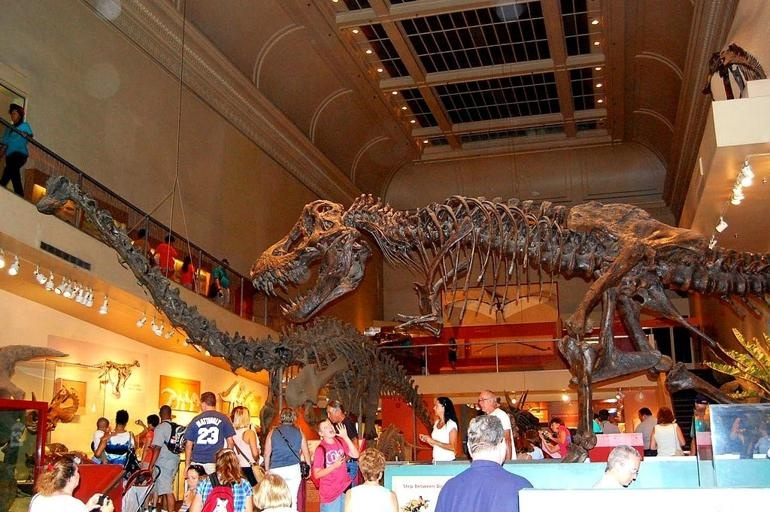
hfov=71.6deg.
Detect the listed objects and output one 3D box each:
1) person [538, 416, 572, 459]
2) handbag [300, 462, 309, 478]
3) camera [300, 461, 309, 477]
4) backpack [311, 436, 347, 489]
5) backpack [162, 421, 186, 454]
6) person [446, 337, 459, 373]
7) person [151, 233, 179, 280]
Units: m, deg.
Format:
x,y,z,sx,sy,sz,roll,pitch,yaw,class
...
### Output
x,y,z,sx,sy,sz,roll,pitch,yaw,class
2.894,3.144,9.016,0.498,0.798,0.321,-6,-5,5,person
-0.932,2.479,6.148,0.123,0.175,0.044,4,-1,-33,handbag
-0.930,2.471,6.148,0.120,0.172,0.041,5,-4,-34,camera
-0.597,2.248,5.788,0.422,0.519,0.270,-1,-4,-31,backpack
-2.893,2.593,7.368,0.157,0.249,0.247,3,-24,0,backpack
1.869,2.636,14.854,0.292,0.989,0.689,-3,-25,6,person
-4.457,0.064,10.790,0.405,1.026,0.355,0,26,-36,person
